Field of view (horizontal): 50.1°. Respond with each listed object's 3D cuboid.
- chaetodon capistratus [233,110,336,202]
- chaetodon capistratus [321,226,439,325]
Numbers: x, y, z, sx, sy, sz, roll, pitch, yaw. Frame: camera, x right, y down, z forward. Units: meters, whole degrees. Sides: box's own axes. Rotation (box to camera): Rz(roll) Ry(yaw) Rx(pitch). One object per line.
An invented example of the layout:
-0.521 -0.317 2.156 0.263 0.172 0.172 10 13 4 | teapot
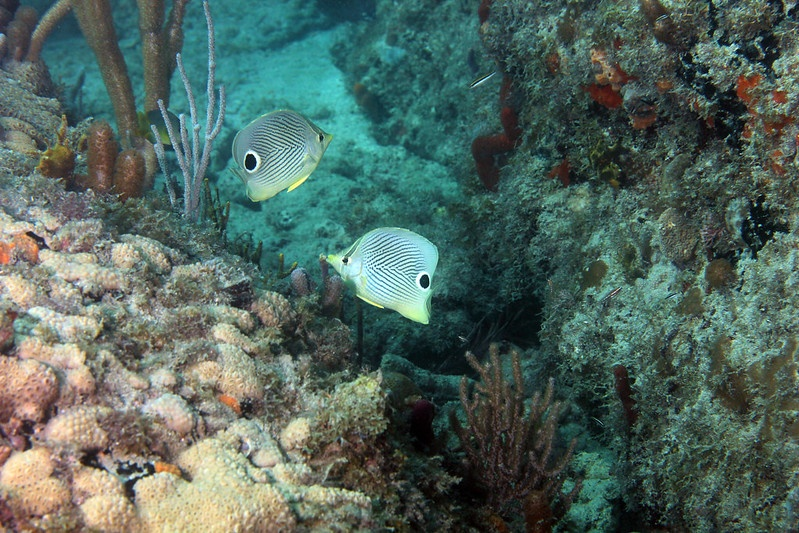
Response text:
-1.330 -1.316 9.855 1.161 0.992 0.404 -13 28 -7 | chaetodon capistratus
-0.192 0.035 9.385 1.263 1.113 0.424 11 31 6 | chaetodon capistratus
